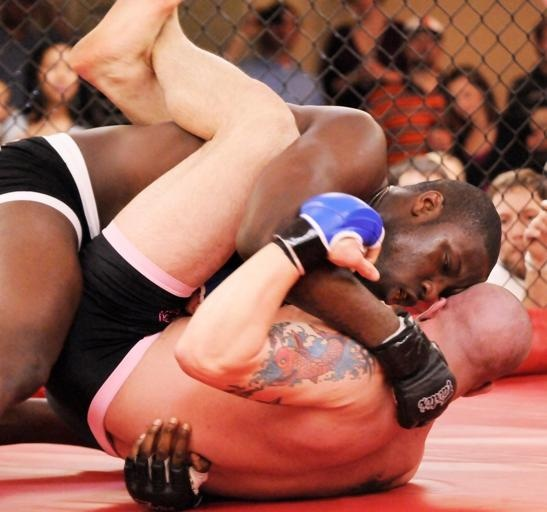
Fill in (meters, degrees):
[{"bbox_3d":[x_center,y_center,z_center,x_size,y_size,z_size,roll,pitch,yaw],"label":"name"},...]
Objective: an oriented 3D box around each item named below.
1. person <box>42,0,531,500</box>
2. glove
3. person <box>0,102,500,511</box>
[{"bbox_3d":[-0.020,-0.002,1.177,0.777,0.520,0.772,-9,53,-18],"label":"person"},{"bbox_3d":[0.211,0.189,1.096,0.136,0.077,0.177,-37,101,-15],"label":"glove"},{"bbox_3d":[-0.016,0.038,1.190,0.988,0.560,0.341,12,78,-1],"label":"person"}]
